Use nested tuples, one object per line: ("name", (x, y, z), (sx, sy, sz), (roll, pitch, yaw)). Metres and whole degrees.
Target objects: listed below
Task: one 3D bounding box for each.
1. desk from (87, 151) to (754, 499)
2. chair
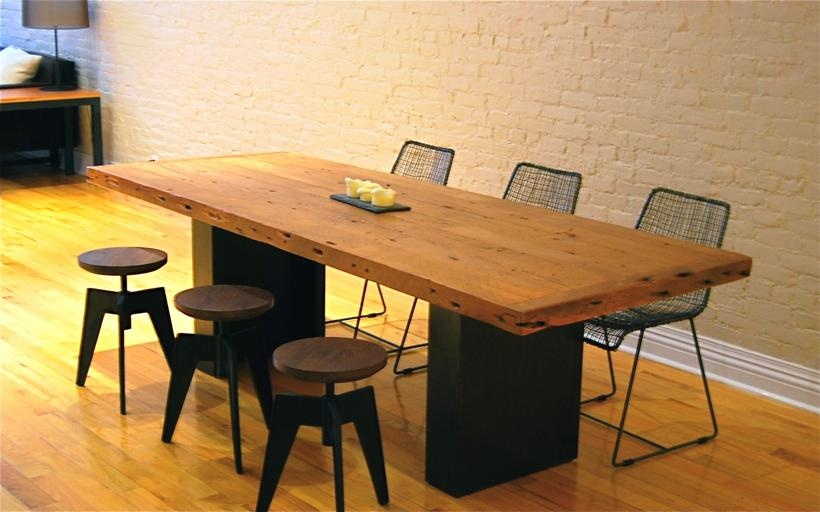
("desk", (0.118, 0.381, 3.143), (2.569, 0.569, 1.105), (10, 13, 43))
("chair", (0.662, 0.269, 3.119), (0.818, 0.729, 2.458), (-8, 13, -38))
